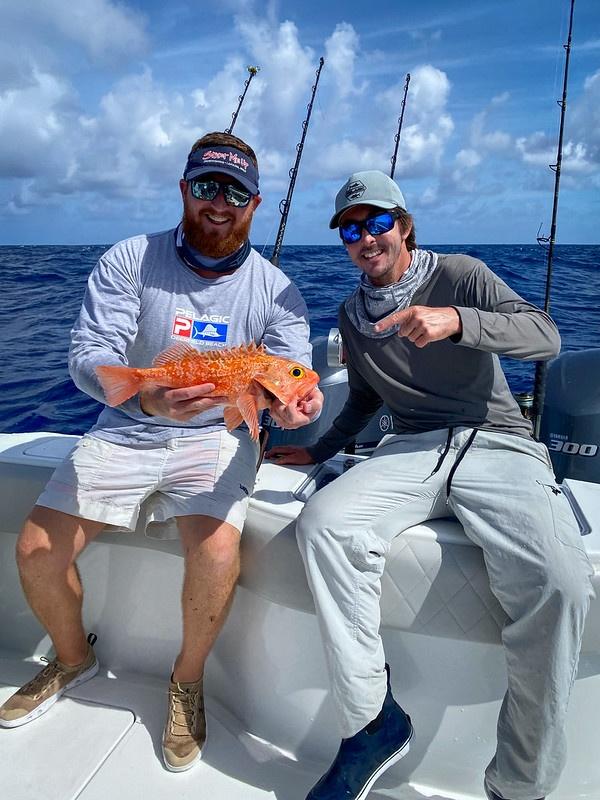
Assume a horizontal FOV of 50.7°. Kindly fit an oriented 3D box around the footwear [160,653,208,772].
[{"bbox_3d":[-0.380,1.066,2.098,0.141,0.234,0.205,5,12,-5],"label":"footwear"}]

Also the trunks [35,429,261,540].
[{"bbox_3d":[-0.538,0.278,2.279,0.550,0.186,0.460,1,22,6],"label":"trunks"}]

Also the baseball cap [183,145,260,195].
[{"bbox_3d":[-0.316,-0.945,2.525,0.311,0.119,0.304,7,28,-18],"label":"baseball cap"}]

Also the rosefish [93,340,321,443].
[{"bbox_3d":[-0.270,-0.029,1.983,0.667,0.270,0.184,1,0,-18],"label":"rosefish"}]
